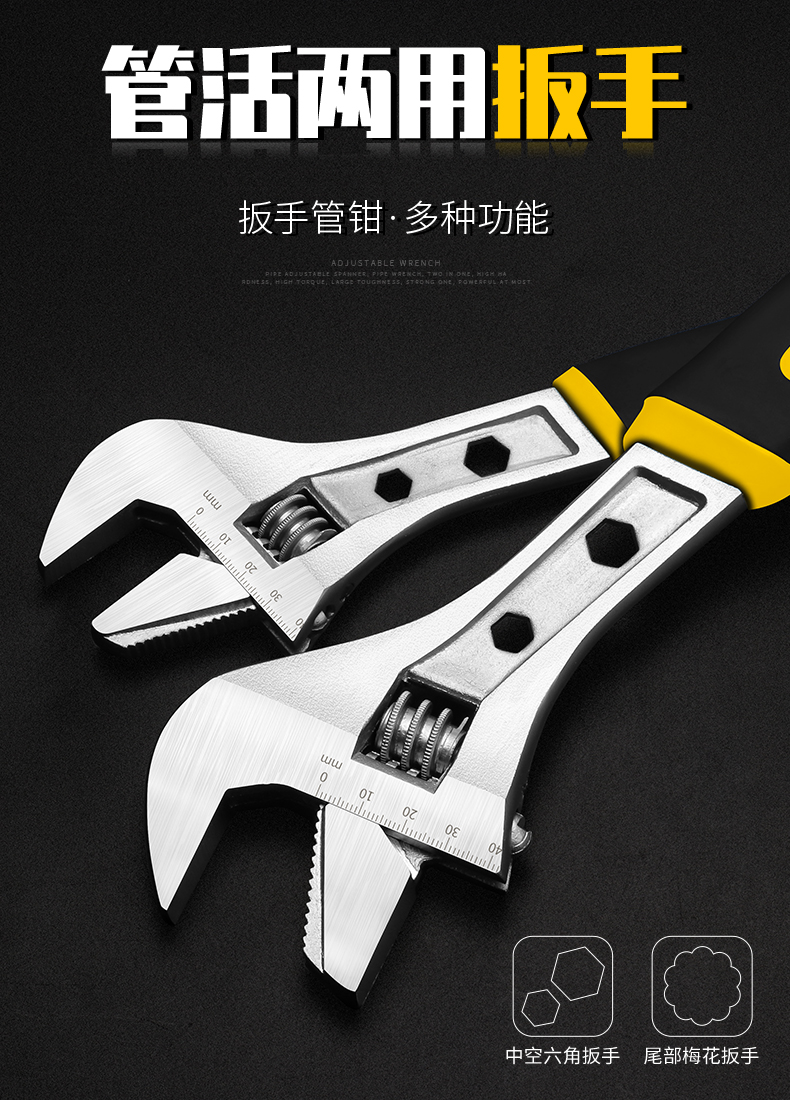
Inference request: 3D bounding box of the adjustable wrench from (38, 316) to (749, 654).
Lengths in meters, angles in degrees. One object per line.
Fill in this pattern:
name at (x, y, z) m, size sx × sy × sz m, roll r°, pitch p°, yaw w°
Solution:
adjustable wrench at (0.008, -0.085, 1.567) m, size 0.907 × 0.100 × 0.319 m, roll -20°, pitch 62°, yaw -13°
